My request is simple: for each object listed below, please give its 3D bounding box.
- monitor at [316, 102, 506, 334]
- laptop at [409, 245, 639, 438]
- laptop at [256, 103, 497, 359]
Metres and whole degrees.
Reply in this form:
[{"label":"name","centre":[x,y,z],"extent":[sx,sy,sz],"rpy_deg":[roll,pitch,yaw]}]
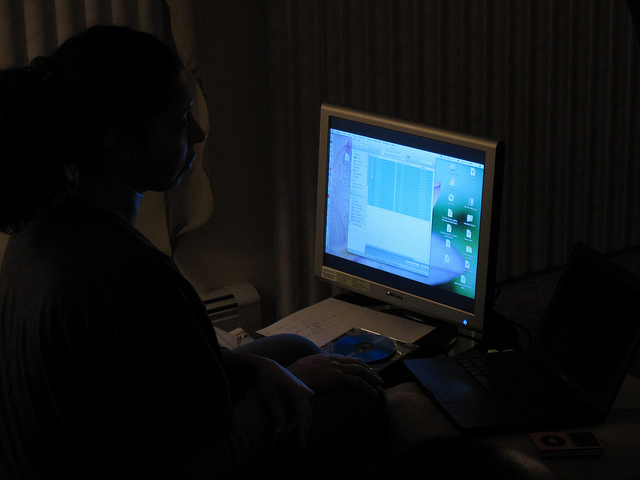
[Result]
[{"label":"monitor","centre":[0.201,-0.035,1.604],"extent":[0.563,0.519,0.058],"rpy_deg":[16,17,37]},{"label":"laptop","centre":[0.381,0.186,1.284],"extent":[0.368,0.290,0.282],"rpy_deg":[-1,10,-6]},{"label":"laptop","centre":[0.230,-0.006,1.776],"extent":[0.598,0.606,0.561],"rpy_deg":[20,31,37]}]
